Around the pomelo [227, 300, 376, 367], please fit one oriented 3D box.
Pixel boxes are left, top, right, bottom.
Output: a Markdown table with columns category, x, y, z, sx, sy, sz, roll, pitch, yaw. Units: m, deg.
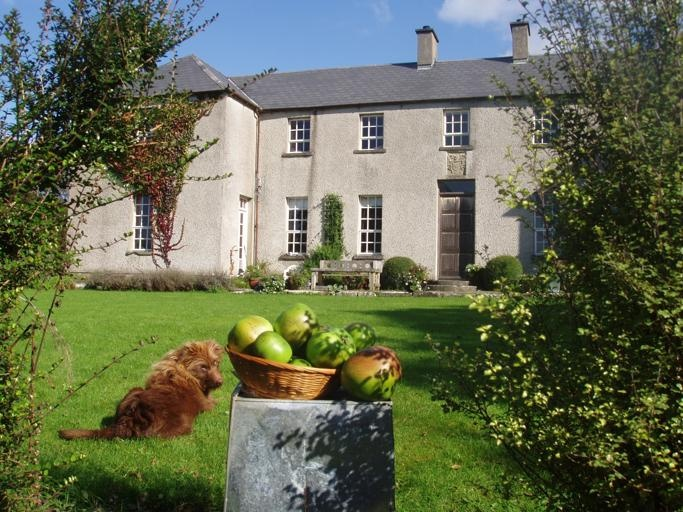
| category | x | y | z | sx | sy | sz | roll | pitch | yaw |
| --- | --- | --- | --- | --- | --- | --- | --- | --- | --- |
| pomelo | -0.200 | 0.430 | 3.170 | 0.452 | 0.212 | 0.411 | 6 | -8 | -30 |

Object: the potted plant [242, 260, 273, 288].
| category | x | y | z | sx | sy | sz | roll | pitch | yaw |
| --- | --- | --- | --- | --- | --- | --- | --- | --- | --- |
| potted plant | -2.289 | 0.435 | 17.310 | 0.833 | 1.003 | 0.676 | 6 | -9 | -22 |

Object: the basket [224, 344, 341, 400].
| category | x | y | z | sx | sy | sz | roll | pitch | yaw |
| --- | --- | --- | --- | --- | --- | --- | --- | --- | --- |
| basket | -0.282 | 0.594 | 3.018 | 0.528 | 0.218 | 0.175 | 2 | -2 | -1 |

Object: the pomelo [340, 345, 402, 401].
| category | x | y | z | sx | sy | sz | roll | pitch | yaw |
| --- | --- | --- | --- | --- | --- | --- | --- | --- | --- |
| pomelo | 0.141 | 0.578 | 3.016 | 0.294 | 0.262 | 0.195 | 2 | -2 | 0 |

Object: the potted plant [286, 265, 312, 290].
| category | x | y | z | sx | sy | sz | roll | pitch | yaw |
| --- | --- | --- | --- | --- | --- | --- | --- | --- | --- |
| potted plant | -1.175 | 0.588 | 17.030 | 0.562 | 0.552 | 0.700 | 1 | -3 | -5 |

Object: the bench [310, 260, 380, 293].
| category | x | y | z | sx | sy | sz | roll | pitch | yaw |
| --- | --- | --- | --- | --- | --- | --- | --- | --- | --- |
| bench | 0.149 | 0.488 | 16.140 | 1.787 | 0.847 | 0.806 | 1 | -3 | 19 |
